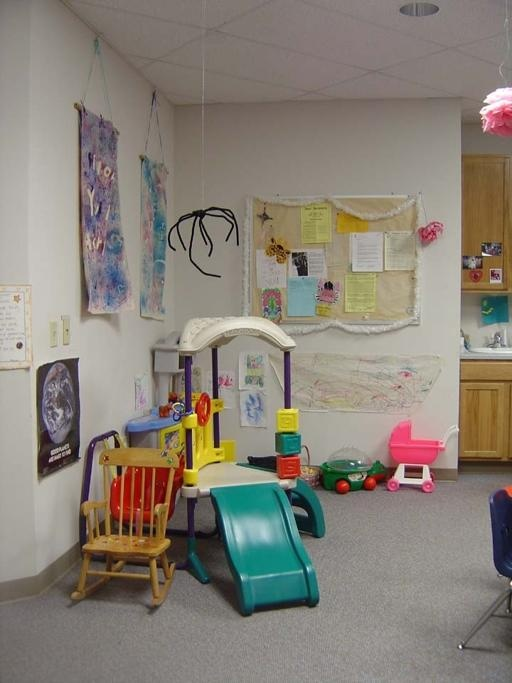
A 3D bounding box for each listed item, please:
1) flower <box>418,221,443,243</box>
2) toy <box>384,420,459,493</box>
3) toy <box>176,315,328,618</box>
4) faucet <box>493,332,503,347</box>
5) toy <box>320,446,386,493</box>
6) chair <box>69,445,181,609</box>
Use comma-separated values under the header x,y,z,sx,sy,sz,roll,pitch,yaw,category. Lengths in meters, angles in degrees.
x,y,z,sx,sy,sz,roll,pitch,yaw,category
1.234,-0.771,3.953,0.173,0.164,0.142,0,0,18,flower
1.154,0.811,4.054,0.515,0.609,0.376,-1,0,12,toy
-0.052,0.515,2.605,0.529,1.238,1.189,0,-1,-15,toy
2.002,-0.016,4.622,0.101,0.114,0.100,0,-4,-3,faucet
0.701,0.908,3.960,0.483,0.276,0.210,0,0,-22,toy
-0.541,0.775,2.328,0.430,0.587,0.500,1,-1,-24,chair
